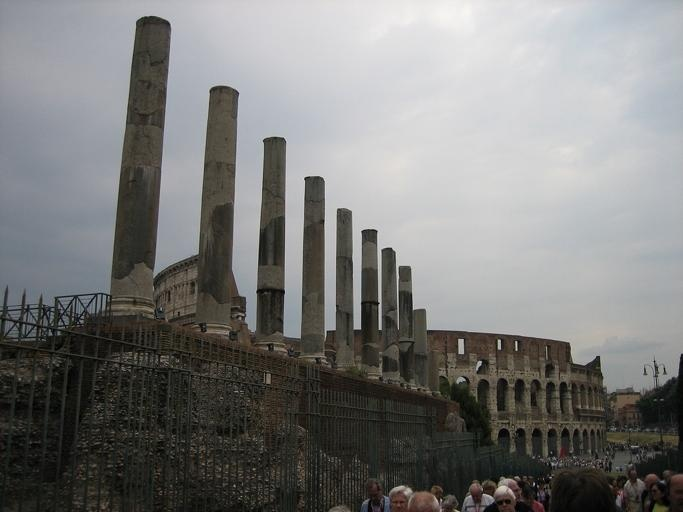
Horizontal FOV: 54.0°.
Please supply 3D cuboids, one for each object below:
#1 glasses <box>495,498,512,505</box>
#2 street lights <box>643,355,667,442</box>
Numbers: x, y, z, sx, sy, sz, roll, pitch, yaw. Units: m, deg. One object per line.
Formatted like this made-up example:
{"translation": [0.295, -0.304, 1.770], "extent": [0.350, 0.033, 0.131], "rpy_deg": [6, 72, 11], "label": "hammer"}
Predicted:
{"translation": [1.400, 2.122, 5.754], "extent": [0.142, 0.062, 0.053], "rpy_deg": [-1, -16, 3], "label": "glasses"}
{"translation": [10.396, 4.158, 22.103], "extent": [0.719, 0.763, 2.322], "rpy_deg": [-10, -37, 22], "label": "street lights"}
